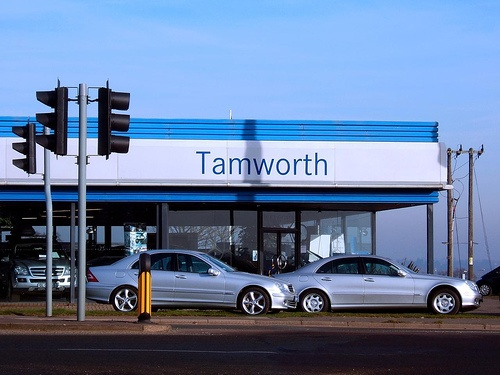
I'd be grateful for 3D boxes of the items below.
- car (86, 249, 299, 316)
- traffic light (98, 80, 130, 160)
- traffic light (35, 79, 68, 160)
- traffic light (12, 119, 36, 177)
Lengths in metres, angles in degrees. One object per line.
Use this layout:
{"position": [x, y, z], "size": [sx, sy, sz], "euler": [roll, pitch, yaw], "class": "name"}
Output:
{"position": [-1.806, 2.814, 29.086], "size": [5.561, 1.669, 2.263], "euler": [-1, -5, -1], "class": "car"}
{"position": [-3.433, -1.696, 25.258], "size": [0.776, 1.751, 0.401], "euler": [1, -7, -8], "class": "traffic light"}
{"position": [-4.968, -1.701, 25.279], "size": [0.802, 1.716, 0.837], "euler": [1, -7, -12], "class": "traffic light"}
{"position": [-5.809, -1.060, 25.859], "size": [0.622, 1.396, 0.975], "euler": [2, -7, -13], "class": "traffic light"}
